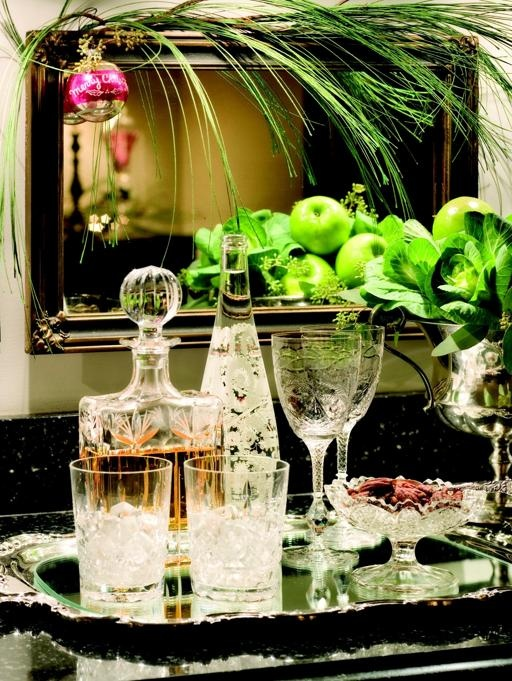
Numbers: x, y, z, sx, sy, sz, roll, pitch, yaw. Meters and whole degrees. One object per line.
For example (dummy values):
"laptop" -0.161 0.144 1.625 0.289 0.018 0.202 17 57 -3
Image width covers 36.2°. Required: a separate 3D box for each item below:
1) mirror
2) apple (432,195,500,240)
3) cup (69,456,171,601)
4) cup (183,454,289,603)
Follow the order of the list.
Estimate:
"mirror" -0.053 -0.173 0.966 0.017 0.337 0.597 0 4 37
"apple" 0.251 -0.153 0.924 0.059 0.060 0.058 -14 -12 29
"cup" -0.089 0.129 0.522 0.065 0.089 0.034 -1 2 -13
"cup" -0.013 0.139 0.571 0.101 0.101 0.094 0 -9 0
